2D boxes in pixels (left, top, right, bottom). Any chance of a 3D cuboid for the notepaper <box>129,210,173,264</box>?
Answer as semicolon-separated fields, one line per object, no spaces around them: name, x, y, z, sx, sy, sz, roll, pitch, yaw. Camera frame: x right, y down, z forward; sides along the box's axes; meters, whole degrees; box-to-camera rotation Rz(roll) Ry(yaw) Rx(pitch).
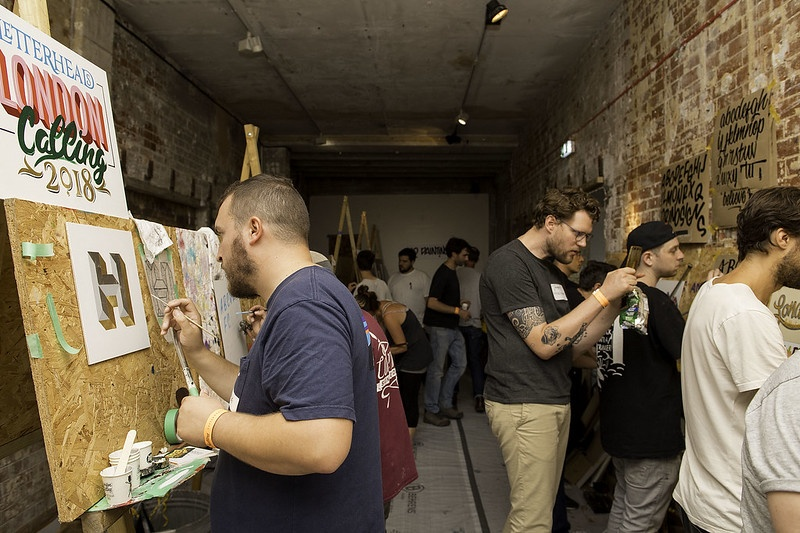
notepaper;-1.224;-0.136;2.650;0.079;0.218;0.215;-21;38;10

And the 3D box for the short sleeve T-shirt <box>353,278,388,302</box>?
short sleeve T-shirt;-0.301;0.335;5.921;0.413;0.421;0.222;-1;6;-5

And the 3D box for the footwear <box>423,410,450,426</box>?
footwear;0.436;1.640;5.756;0.311;0.220;0.113;-2;0;17

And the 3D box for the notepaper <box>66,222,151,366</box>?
notepaper;-1.276;0.117;2.349;0.104;0.441;0.338;-2;-1;19

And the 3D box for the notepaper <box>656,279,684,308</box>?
notepaper;1.949;0.176;3.828;0.057;0.160;0.270;31;29;8

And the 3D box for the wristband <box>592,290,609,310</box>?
wristband;1.031;0.163;2.720;0.078;0.100;0.042;-3;-1;17

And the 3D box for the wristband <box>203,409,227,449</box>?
wristband;-0.672;0.588;1.909;0.034;0.118;0.112;1;-8;-14
